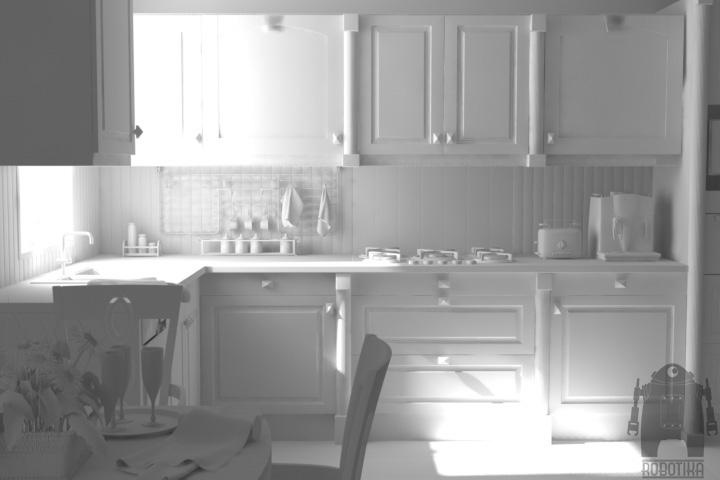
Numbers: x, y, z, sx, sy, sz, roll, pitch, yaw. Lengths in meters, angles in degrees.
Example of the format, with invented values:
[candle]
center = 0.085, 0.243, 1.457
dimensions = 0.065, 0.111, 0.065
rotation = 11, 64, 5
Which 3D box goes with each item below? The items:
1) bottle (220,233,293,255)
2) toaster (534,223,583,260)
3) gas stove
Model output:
[bottle]
center = -0.701, 0.038, 4.644
dimensions = 0.504, 0.131, 0.091
rotation = -2, 4, -4
[toaster]
center = 1.350, 0.009, 4.545
dimensions = 0.271, 0.198, 0.282
rotation = 0, 9, 25
[gas stove]
center = 0.484, 0.102, 4.404
dimensions = 0.996, 0.093, 0.393
rotation = -1, 4, 1
